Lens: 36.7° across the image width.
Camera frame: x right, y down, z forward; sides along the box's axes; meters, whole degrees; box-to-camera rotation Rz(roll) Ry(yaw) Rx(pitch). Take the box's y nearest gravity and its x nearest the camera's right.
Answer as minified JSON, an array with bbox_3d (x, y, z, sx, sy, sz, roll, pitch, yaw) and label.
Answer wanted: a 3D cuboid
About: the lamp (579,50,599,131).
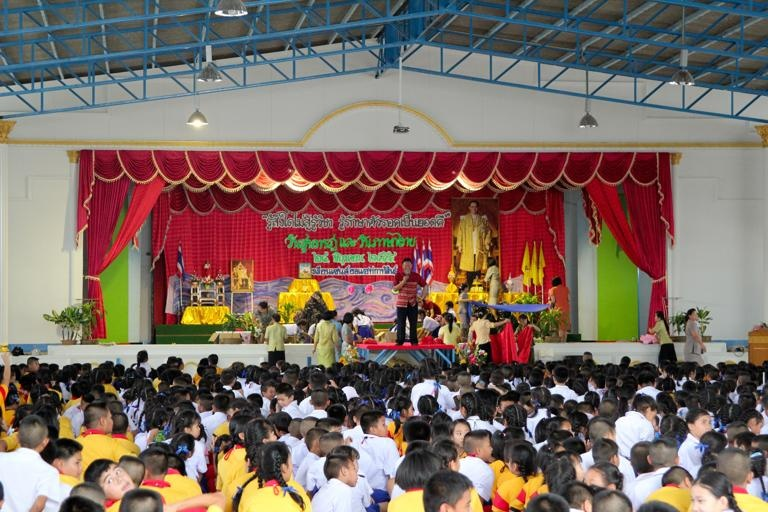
[{"bbox_3d":[4.520,-3.752,25.970,0.346,1.611,0.330,5,18,32],"label":"lamp"}]

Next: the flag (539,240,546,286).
[{"bbox_3d":[4.291,0.197,31.720,0.173,1.135,0.060,-1,-7,0],"label":"flag"}]

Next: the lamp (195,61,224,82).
[{"bbox_3d":[-3.522,-3.797,23.585,0.503,0.536,0.511,-2,-4,35],"label":"lamp"}]

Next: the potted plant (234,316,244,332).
[{"bbox_3d":[-3.533,1.632,28.462,0.175,0.323,0.416,2,-8,-21],"label":"potted plant"}]

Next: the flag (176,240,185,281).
[{"bbox_3d":[-5.384,0.158,30.643,0.216,0.956,0.113,0,-7,-5],"label":"flag"}]

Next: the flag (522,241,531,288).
[{"bbox_3d":[3.856,0.218,31.704,0.238,1.209,0.073,0,-7,-3],"label":"flag"}]

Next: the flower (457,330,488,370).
[{"bbox_3d":[1.829,2.051,24.625,0.562,0.666,0.589,-1,3,12],"label":"flower"}]

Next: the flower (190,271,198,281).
[{"bbox_3d":[-5.013,0.535,30.624,0.186,0.260,0.210,2,-8,-21],"label":"flower"}]

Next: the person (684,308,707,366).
[{"bbox_3d":[6.790,1.798,25.503,0.509,1.637,0.510,-11,26,-9],"label":"person"}]

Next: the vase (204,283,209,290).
[{"bbox_3d":[-4.668,0.791,30.492,0.148,0.097,0.191,1,3,1],"label":"vase"}]

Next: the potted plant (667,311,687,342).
[{"bbox_3d":[6.925,1.675,27.252,0.537,0.719,0.555,2,-3,-4],"label":"potted plant"}]

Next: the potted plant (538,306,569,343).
[{"bbox_3d":[3.884,1.568,26.924,0.503,0.817,0.909,-4,-8,27],"label":"potted plant"}]

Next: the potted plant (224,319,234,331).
[{"bbox_3d":[-3.843,1.665,28.502,0.249,0.277,0.257,-4,-7,32],"label":"potted plant"}]

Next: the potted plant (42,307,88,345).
[{"bbox_3d":[-7.182,1.541,26.443,0.707,0.916,1.030,5,-9,-39],"label":"potted plant"}]

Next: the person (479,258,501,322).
[{"bbox_3d":[2.709,0.672,29.492,0.454,1.465,0.464,15,32,33],"label":"person"}]

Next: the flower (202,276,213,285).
[{"bbox_3d":[-4.671,0.615,30.633,0.255,0.262,0.251,1,-7,-10],"label":"flower"}]
